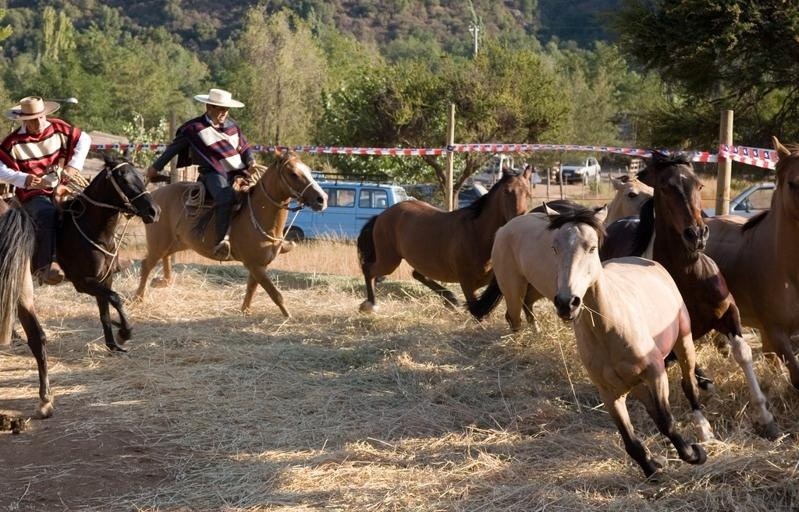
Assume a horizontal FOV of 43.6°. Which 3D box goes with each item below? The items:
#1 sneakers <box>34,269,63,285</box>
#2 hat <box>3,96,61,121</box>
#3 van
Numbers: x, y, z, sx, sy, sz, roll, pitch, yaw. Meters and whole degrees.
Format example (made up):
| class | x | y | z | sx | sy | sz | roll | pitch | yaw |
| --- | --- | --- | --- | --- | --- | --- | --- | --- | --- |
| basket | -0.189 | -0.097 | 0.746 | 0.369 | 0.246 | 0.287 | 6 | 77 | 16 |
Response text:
| class | x | y | z | sx | sy | sz | roll | pitch | yaw |
| --- | --- | --- | --- | --- | --- | --- | --- | --- | --- |
| sneakers | -5.055 | 0.307 | 14.523 | 0.317 | 0.211 | 0.245 | -15 | 2 | -2 |
| hat | -5.224 | -2.082 | 14.267 | 0.522 | 0.141 | 0.531 | -17 | 29 | -13 |
| van | -1.428 | -1.169 | 24.244 | 2.465 | 1.324 | 1.647 | -1 | 1 | 11 |
